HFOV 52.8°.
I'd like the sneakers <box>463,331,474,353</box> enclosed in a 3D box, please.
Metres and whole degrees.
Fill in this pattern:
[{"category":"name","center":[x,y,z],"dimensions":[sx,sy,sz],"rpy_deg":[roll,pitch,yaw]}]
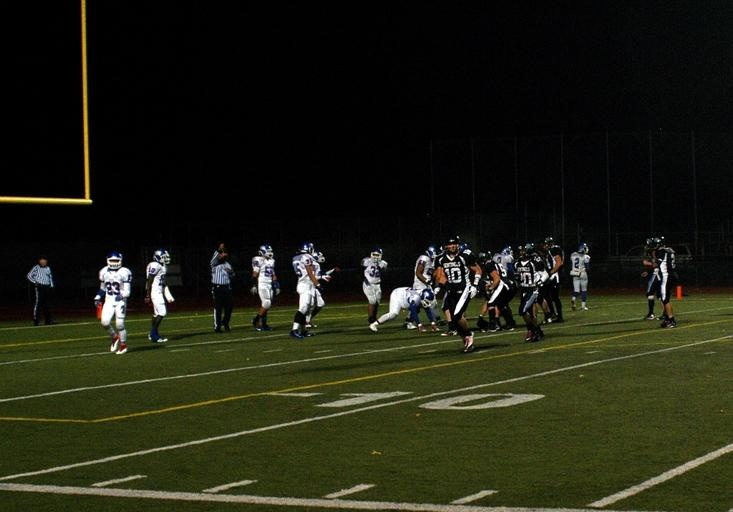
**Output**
[{"category":"sneakers","center":[2.020,1.714,14.573],"dimensions":[0.182,0.384,0.250],"rpy_deg":[-1,-2,0]}]

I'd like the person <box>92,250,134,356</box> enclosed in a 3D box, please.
[{"category":"person","center":[-5.452,1.025,15.917],"dimensions":[0.701,2.124,1.406],"rpy_deg":[-1,-2,-19]}]

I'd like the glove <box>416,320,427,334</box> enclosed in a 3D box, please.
[{"category":"glove","center":[1.438,1.878,19.214],"dimensions":[0.256,0.225,0.891],"rpy_deg":[9,-4,-3]}]

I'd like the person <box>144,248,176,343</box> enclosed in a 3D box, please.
[{"category":"person","center":[-4.971,0.976,17.744],"dimensions":[0.565,2.239,1.191],"rpy_deg":[-1,-2,-14]}]

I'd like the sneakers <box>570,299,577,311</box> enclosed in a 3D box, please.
[{"category":"sneakers","center":[7.394,1.767,26.277],"dimensions":[0.155,0.464,0.234],"rpy_deg":[-4,37,26]}]

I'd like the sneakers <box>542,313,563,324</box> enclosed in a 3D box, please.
[{"category":"sneakers","center":[5.269,1.826,20.836],"dimensions":[0.660,0.250,0.208],"rpy_deg":[-13,-8,-20]}]

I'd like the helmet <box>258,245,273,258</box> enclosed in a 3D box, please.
[{"category":"helmet","center":[-3.071,-0.107,22.539],"dimensions":[0.588,0.439,0.507],"rpy_deg":[-2,0,11]}]

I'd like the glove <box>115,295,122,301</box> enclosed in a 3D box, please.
[{"category":"glove","center":[-5.178,0.887,15.414],"dimensions":[0.156,0.121,0.045],"rpy_deg":[-1,-2,-18]}]

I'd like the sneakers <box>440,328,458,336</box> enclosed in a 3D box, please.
[{"category":"sneakers","center":[2.010,1.874,17.910],"dimensions":[0.448,0.174,0.147],"rpy_deg":[1,-2,18]}]

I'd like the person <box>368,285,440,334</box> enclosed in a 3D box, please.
[{"category":"person","center":[1.005,1.341,18.820],"dimensions":[1.564,0.914,1.122],"rpy_deg":[-5,-5,30]}]

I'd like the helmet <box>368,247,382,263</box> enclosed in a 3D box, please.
[{"category":"helmet","center":[0.252,-0.036,19.496],"dimensions":[0.303,0.283,0.378],"rpy_deg":[7,-5,3]}]

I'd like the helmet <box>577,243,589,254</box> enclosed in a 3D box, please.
[{"category":"helmet","center":[8.682,-0.276,29.539],"dimensions":[0.489,0.439,0.353],"rpy_deg":[-18,23,-26]}]
